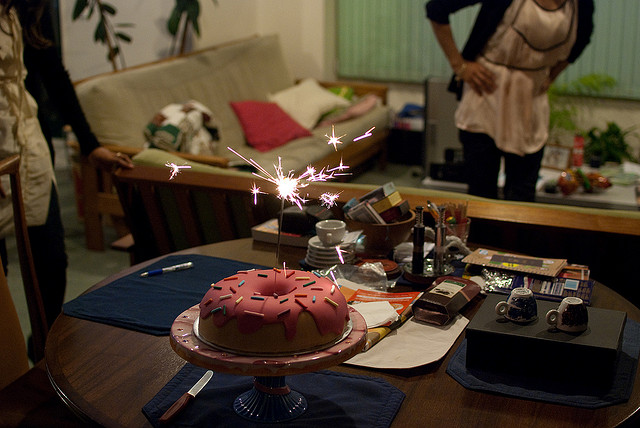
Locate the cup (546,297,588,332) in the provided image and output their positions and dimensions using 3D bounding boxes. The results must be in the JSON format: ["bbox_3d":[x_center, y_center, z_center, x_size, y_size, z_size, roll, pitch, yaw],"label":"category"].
[{"bbox_3d":[0.624,0.265,1.259,0.093,0.063,0.062,1,2,-18],"label":"cup"}]

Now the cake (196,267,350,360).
[{"bbox_3d":[-0.113,0.251,1.253,0.361,0.161,0.391,-1,5,-14],"label":"cake"}]

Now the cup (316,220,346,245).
[{"bbox_3d":[0.044,0.065,1.767,0.092,0.071,0.106,11,25,35],"label":"cup"}]

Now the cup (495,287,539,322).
[{"bbox_3d":[0.524,0.249,1.318,0.114,0.076,0.081,-5,7,-1],"label":"cup"}]
